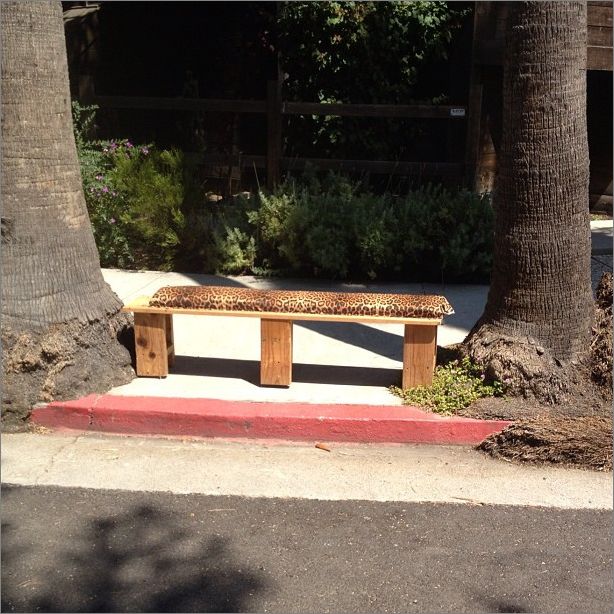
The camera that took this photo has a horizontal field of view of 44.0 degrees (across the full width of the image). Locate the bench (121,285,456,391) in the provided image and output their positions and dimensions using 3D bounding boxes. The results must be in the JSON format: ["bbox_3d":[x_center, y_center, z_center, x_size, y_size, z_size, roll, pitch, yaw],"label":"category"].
[{"bbox_3d":[-0.144,0.235,5.629,2.347,0.659,0.452,2,17,7],"label":"bench"}]
